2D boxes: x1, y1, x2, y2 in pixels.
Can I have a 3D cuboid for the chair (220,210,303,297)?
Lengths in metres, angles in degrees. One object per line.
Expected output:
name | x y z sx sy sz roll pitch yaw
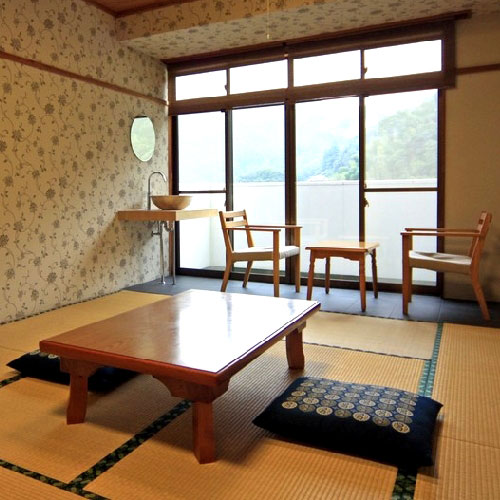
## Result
chair | 0.104 0.020 4.308 0.861 0.698 0.785 1 6 -5

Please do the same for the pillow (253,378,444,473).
pillow | 0.404 0.655 1.775 0.653 0.129 0.392 3 8 29

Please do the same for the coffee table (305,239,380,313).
coffee table | 0.786 0.203 3.981 0.670 0.559 0.647 0 1 26

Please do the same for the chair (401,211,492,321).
chair | 1.564 0.095 3.794 0.929 1.031 0.823 1 2 21

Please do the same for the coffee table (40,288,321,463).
coffee table | -0.257 0.502 2.103 0.833 0.360 1.031 2 8 25
